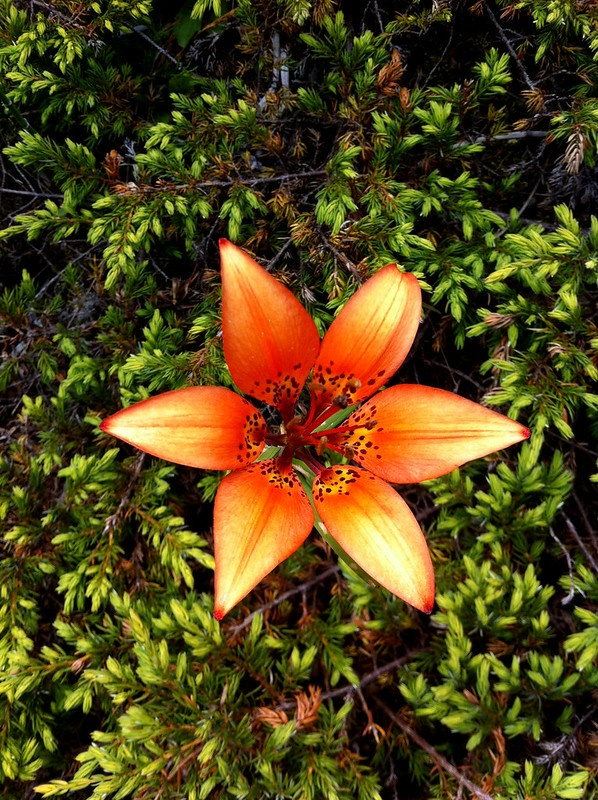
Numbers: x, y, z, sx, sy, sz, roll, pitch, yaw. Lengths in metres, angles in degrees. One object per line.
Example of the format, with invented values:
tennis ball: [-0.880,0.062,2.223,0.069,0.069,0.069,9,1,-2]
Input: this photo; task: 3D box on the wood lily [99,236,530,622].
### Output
wood lily: [0.041,0.069,1.876,1.109,0.453,0.902,-13,88,-25]
